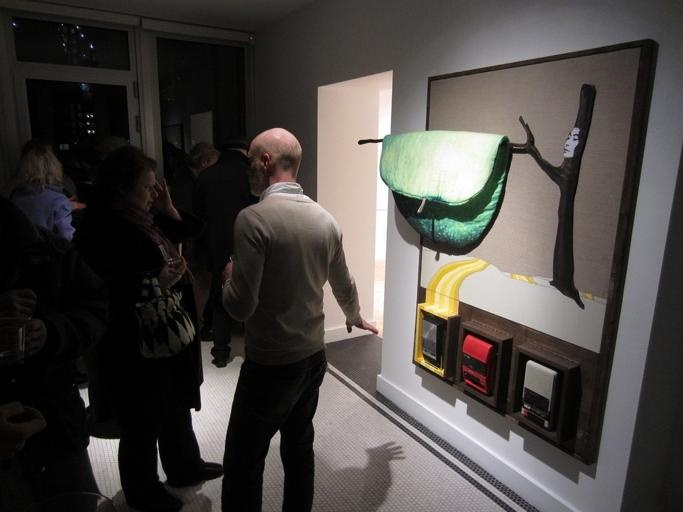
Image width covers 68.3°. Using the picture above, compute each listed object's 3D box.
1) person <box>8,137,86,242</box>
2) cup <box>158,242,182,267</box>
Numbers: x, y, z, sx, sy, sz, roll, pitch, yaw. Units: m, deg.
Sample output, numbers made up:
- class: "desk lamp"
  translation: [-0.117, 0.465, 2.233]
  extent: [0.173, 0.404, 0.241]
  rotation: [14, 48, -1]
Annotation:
- class: "person"
  translation: [-1.798, -0.253, 3.064]
  extent: [0.337, 0.936, 0.286]
  rotation: [15, 36, -8]
- class: "cup"
  translation: [-0.618, -0.005, 1.824]
  extent: [0.028, 0.080, 0.063]
  rotation: [-13, 10, 34]
